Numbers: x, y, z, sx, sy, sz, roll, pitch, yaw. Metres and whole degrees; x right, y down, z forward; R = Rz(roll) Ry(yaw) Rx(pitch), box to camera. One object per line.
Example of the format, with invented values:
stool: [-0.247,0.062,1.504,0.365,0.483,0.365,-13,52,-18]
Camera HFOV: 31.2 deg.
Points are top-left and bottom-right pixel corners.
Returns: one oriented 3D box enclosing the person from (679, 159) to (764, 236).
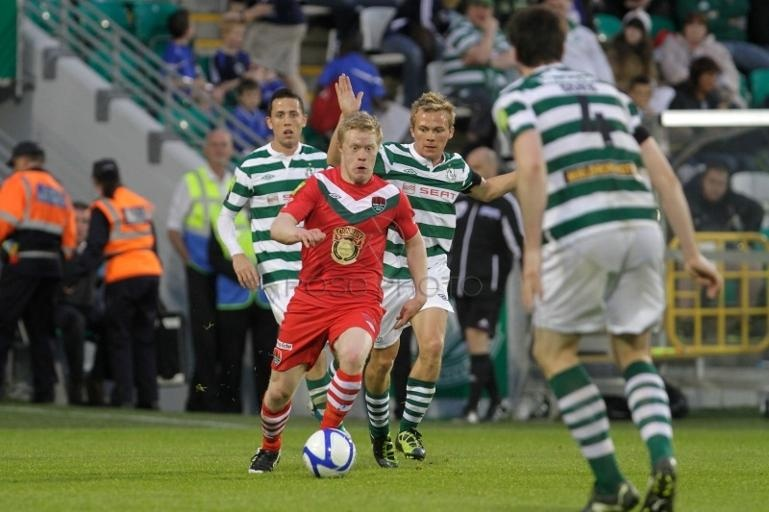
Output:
person: [3.647,-0.577,14.970,0.844,0.933,0.585,2,-10,-5]

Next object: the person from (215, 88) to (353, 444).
person: [-0.940,0.005,12.511,1.040,2.945,1.066,0,0,2]

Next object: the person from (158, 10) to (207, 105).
person: [-2.539,-2.480,17.205,0.418,1.230,0.745,-21,37,-32]

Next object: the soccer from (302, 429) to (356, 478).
soccer: [-0.472,1.653,11.549,0.417,0.399,0.200,1,-12,-4]

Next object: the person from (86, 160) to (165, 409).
person: [-2.803,0.301,14.972,0.717,2.532,1.134,-1,-12,4]

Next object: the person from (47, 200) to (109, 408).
person: [-3.296,0.600,15.242,0.611,2.080,0.539,9,-8,-42]
